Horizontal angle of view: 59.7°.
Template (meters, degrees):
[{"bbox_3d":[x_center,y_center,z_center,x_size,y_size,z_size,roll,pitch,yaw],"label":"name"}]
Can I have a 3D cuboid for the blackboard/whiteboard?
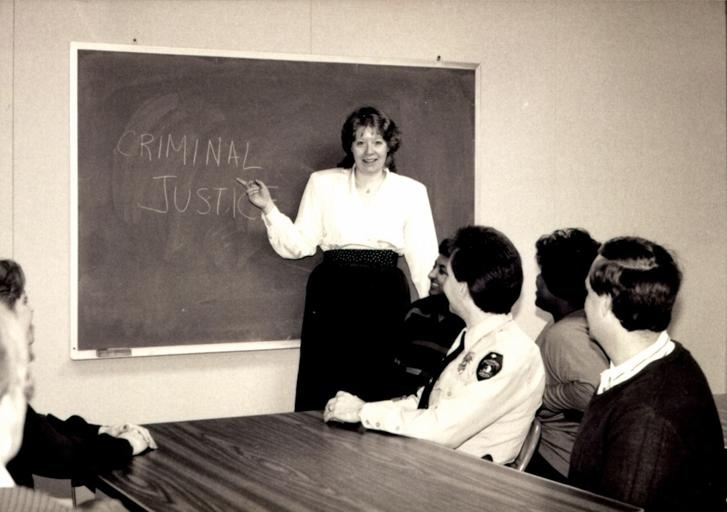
[{"bbox_3d":[-0.532,-0.254,3.174,1.601,1.228,0.064,-3,5,-15],"label":"blackboard/whiteboard"}]

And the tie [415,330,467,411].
[{"bbox_3d":[0.251,0.386,2.264,0.203,0.242,0.068,12,14,-30],"label":"tie"}]

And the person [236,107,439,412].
[{"bbox_3d":[-0.120,0.141,3.443,0.961,1.885,0.417,2,31,-6],"label":"person"}]
